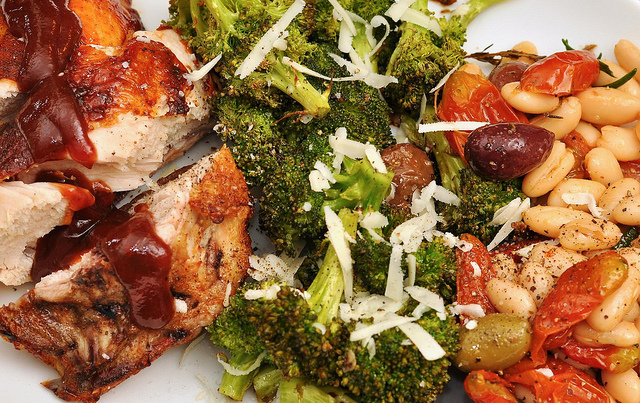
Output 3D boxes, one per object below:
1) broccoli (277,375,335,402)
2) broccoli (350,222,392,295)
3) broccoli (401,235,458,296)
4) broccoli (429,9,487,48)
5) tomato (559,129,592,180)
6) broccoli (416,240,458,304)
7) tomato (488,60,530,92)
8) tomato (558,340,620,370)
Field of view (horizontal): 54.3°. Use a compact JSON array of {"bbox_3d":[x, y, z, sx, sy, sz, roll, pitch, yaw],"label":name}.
[{"bbox_3d":[-0.108,1.337,4.377,0.329,0.196,0.127,13,-1,8],"label":"broccoli"},{"bbox_3d":[0.361,0.399,4.441,0.352,0.453,0.236,24,-2,4],"label":"broccoli"},{"bbox_3d":[0.713,0.492,4.376,0.389,0.212,0.375,39,18,6],"label":"broccoli"},{"bbox_3d":[1.031,-1.333,4.804,0.283,0.432,0.127,16,-24,9],"label":"broccoli"},{"bbox_3d":[1.870,-0.331,4.529,0.238,0.314,0.105,7,-13,0],"label":"tomato"},{"bbox_3d":[0.817,0.469,4.391,0.375,0.260,0.378,49,36,-44],"label":"broccoli"},{"bbox_3d":[1.378,-0.934,4.651,0.148,0.262,0.221,63,10,5],"label":"tomato"},{"bbox_3d":[1.803,1.040,4.192,0.314,0.194,0.090,26,6,9],"label":"tomato"}]
